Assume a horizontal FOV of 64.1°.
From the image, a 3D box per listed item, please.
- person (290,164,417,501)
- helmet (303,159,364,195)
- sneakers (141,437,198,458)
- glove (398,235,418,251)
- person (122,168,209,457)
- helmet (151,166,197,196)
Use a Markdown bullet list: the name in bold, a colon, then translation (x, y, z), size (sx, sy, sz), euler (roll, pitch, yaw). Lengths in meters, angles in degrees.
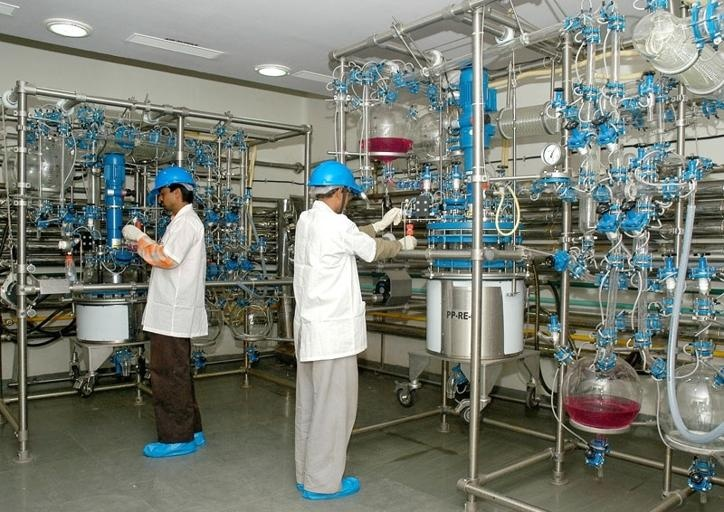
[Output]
- **person**: translation (-0.171, 0.529, 4.312), size (0.656, 2.487, 0.449), euler (0, 6, -7)
- **helmet**: translation (-0.213, -0.607, 4.370), size (0.360, 0.195, 0.254), euler (-6, 11, -40)
- **sneakers**: translation (-1.642, 1.636, 4.927), size (0.267, 0.077, 0.180), euler (-2, -1, -8)
- **glove**: translation (0.364, -0.101, 4.587), size (0.115, 0.204, 0.157), euler (-9, 7, -5)
- **person**: translation (-1.623, 0.457, 4.976), size (0.544, 2.454, 0.468), euler (-2, 6, -19)
- **helmet**: translation (-1.642, -0.691, 5.064), size (0.351, 0.190, 0.277), euler (2, -2, -19)
